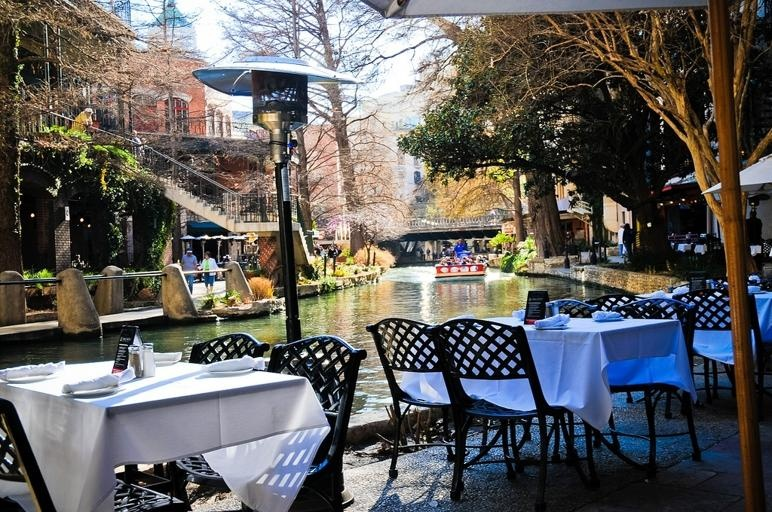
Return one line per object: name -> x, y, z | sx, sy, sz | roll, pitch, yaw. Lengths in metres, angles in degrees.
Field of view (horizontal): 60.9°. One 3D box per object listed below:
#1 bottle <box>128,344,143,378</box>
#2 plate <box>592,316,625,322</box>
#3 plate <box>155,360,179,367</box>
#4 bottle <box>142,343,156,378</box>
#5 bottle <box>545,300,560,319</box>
bottle -> -1.694, 0.713, 4.440 | 0.096, 0.196, 0.061 | -5, -1, -12
plate -> 1.972, 0.561, 5.760 | 0.265, 0.040, 0.223 | -6, -2, 9
plate -> -1.631, 0.791, 4.864 | 0.156, 0.039, 0.081 | -5, -2, -18
bottle -> -1.641, 0.716, 4.520 | 0.075, 0.204, 0.230 | -5, -1, -17
bottle -> 1.579, 0.506, 6.195 | 0.111, 0.222, 0.114 | -4, 13, 1
